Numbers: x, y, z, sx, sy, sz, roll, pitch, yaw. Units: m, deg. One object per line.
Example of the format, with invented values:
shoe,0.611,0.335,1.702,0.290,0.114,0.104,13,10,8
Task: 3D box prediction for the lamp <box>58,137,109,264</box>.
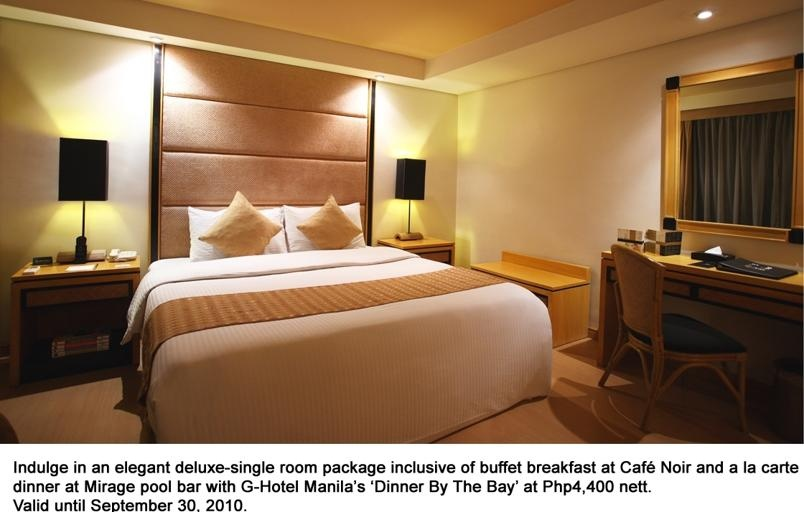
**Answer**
lamp,-2.893,-0.511,4.641,0.409,1.091,0.333,-5,11,-32
